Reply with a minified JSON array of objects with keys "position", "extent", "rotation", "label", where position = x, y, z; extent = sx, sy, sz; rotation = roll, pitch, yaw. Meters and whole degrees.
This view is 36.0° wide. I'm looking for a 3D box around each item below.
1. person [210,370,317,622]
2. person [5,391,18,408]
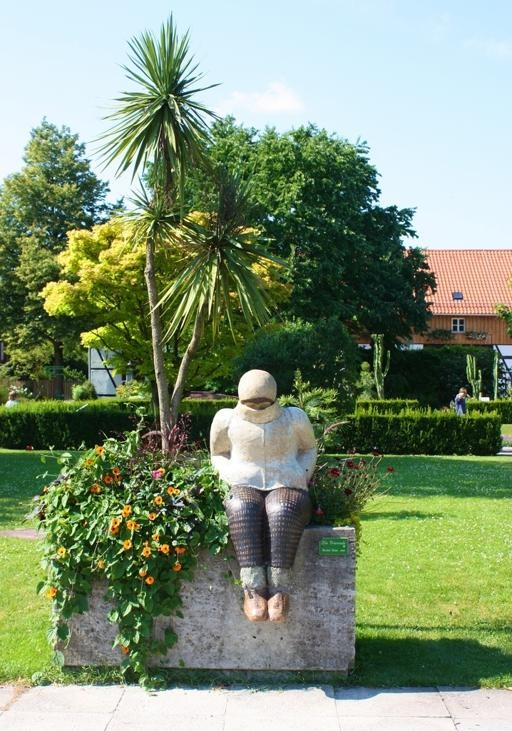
[{"position":[0.018,0.660,4.290],"extent":[0.626,1.242,0.878],"rotation":[-2,2,4],"label":"person"},{"position":[-6.022,0.845,19.431],"extent":[0.262,0.401,1.650],"rotation":[-2,2,-19],"label":"person"}]
